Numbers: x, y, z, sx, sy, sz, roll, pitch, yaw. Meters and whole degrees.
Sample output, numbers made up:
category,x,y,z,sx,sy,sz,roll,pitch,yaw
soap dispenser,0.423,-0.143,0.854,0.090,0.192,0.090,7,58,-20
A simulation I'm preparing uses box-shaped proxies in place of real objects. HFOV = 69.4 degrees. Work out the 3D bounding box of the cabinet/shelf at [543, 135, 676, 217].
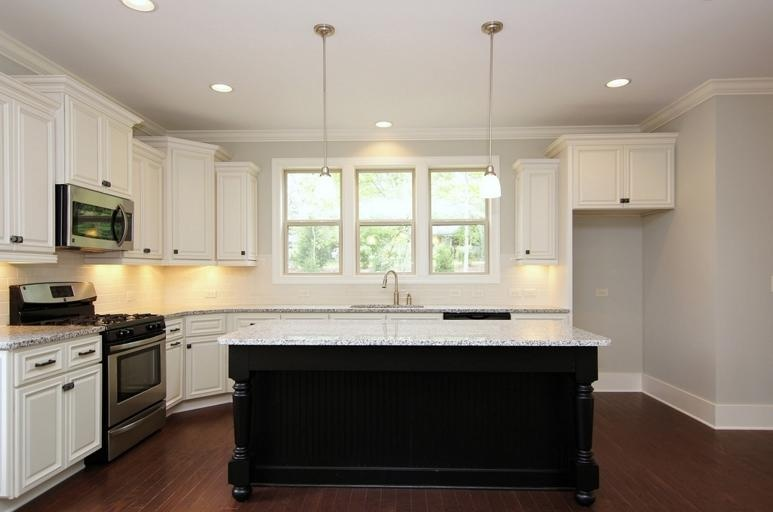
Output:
category,x,y,z,sx,sy,sz,roll,pitch,yaw
cabinet/shelf,2.635,-0.672,6.588,1.534,0.848,0.820,0,-3,3

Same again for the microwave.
category,x,y,z,sx,sy,sz,roll,pitch,yaw
microwave,-2.713,-0.338,5.303,0.529,0.483,0.803,0,-5,1

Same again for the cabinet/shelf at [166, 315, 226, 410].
category,x,y,z,sx,sy,sz,roll,pitch,yaw
cabinet/shelf,-2.081,1.145,6.105,0.295,0.941,0.850,13,19,41
